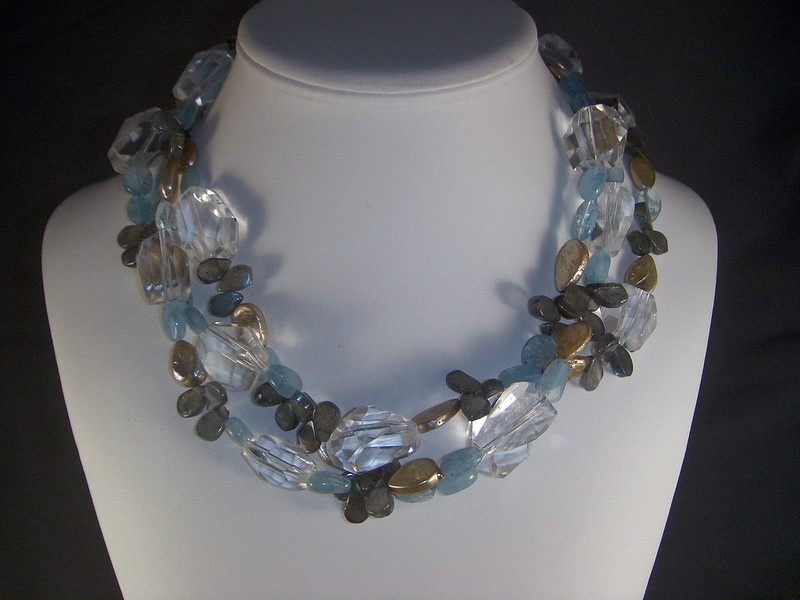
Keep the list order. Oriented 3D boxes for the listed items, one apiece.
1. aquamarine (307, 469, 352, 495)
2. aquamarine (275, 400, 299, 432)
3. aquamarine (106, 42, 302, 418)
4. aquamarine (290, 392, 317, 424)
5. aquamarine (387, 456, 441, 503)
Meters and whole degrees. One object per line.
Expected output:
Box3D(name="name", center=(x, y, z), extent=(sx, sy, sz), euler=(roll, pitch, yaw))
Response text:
Box3D(name="aquamarine", center=(-0.133, 0.343, 1.453), extent=(0.064, 0.027, 0.048), euler=(4, 60, 0))
Box3D(name="aquamarine", center=(-0.213, 0.217, 1.469), extent=(0.042, 0.071, 0.035), euler=(4, 22, 29))
Box3D(name="aquamarine", center=(-0.464, -0.099, 1.641), extent=(0.406, 0.702, 0.136), euler=(-14, -7, -21))
Box3D(name="aquamarine", center=(-0.181, 0.201, 1.455), extent=(0.036, 0.063, 0.021), euler=(0, 5, 0))
Box3D(name="aquamarine", center=(0.029, 0.325, 1.425), extent=(0.081, 0.028, 0.075), euler=(1, 53, 23))
